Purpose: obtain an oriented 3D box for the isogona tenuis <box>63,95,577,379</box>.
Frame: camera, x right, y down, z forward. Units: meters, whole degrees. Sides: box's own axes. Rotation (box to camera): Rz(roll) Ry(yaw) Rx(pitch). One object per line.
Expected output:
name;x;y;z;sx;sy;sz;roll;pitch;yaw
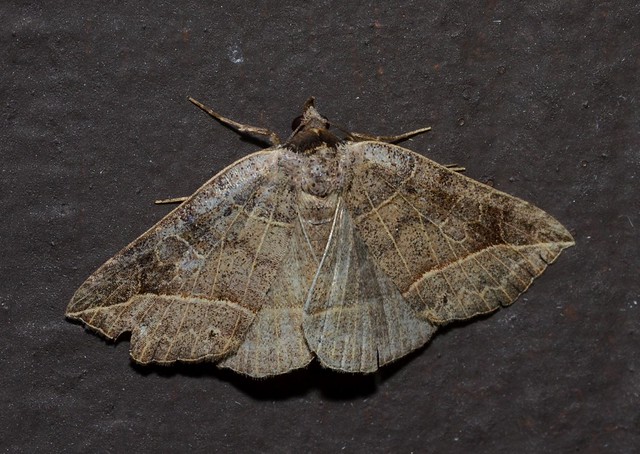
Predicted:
isogona tenuis;-0.167;0.179;7.448;3.668;0.671;2.291;-2;95;-1
